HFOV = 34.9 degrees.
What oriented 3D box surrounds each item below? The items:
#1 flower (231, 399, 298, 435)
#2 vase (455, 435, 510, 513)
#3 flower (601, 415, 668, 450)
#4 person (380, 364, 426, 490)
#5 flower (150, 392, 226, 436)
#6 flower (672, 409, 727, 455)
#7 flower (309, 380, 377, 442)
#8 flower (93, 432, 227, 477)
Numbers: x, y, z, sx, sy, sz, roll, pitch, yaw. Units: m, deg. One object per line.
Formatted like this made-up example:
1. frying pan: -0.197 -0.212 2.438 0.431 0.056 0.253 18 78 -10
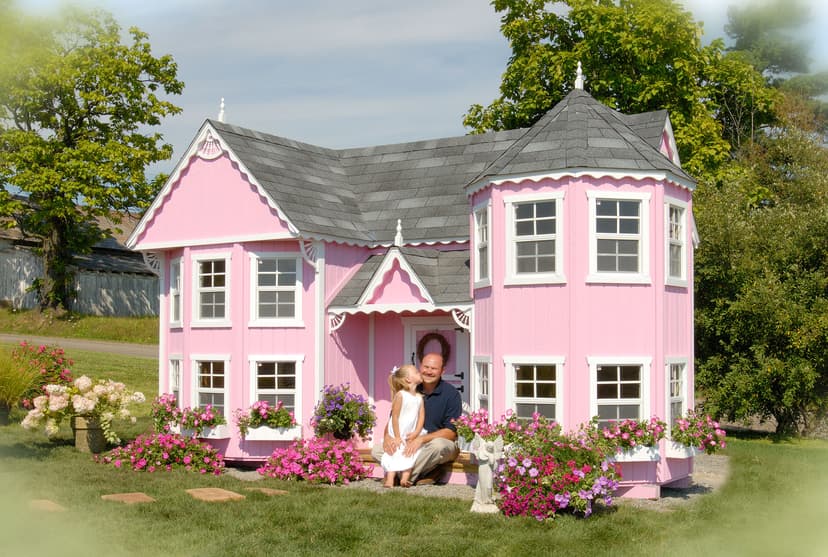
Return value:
1. flower: -4.472 4.226 39.918 1.734 0.995 0.595 2 -7 -7
2. vase: 1.964 5.263 35.905 0.959 1.953 0.688 2 -2 -1
3. flower: 6.125 4.409 36.933 1.198 0.644 1.011 0 -2 -24
4. person: -0.331 4.230 37.572 1.090 3.407 0.557 1 -7 -1
5. flower: -6.942 4.210 40.380 2.206 1.314 0.753 -2 -7 22
6. flower: 8.046 4.422 37.780 1.632 1.229 0.802 5 -8 -32
7. flower: -2.195 4.089 39.966 1.777 1.601 0.845 2 -7 -12
8. flower: -7.383 5.194 39.065 3.310 1.153 0.978 2 -7 -11
